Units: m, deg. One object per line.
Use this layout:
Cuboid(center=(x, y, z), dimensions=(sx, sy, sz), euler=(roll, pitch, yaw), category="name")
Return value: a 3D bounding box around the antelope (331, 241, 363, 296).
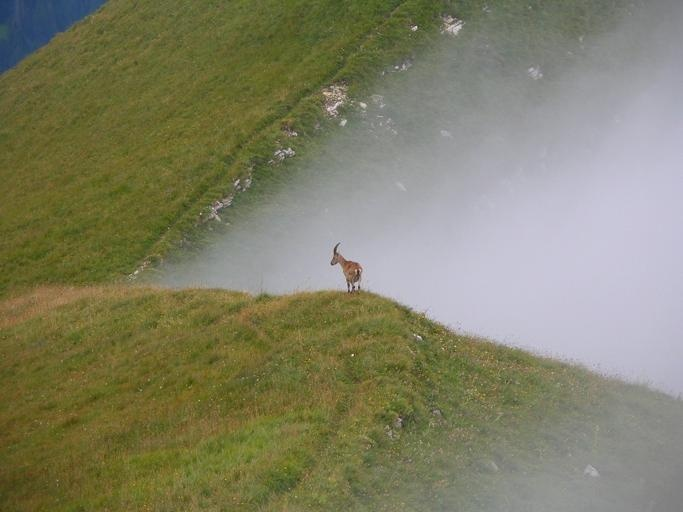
Cuboid(center=(0.508, 1.523, 109.709), dimensions=(1.775, 5.759, 5.016), euler=(-8, 12, -36), category="antelope")
